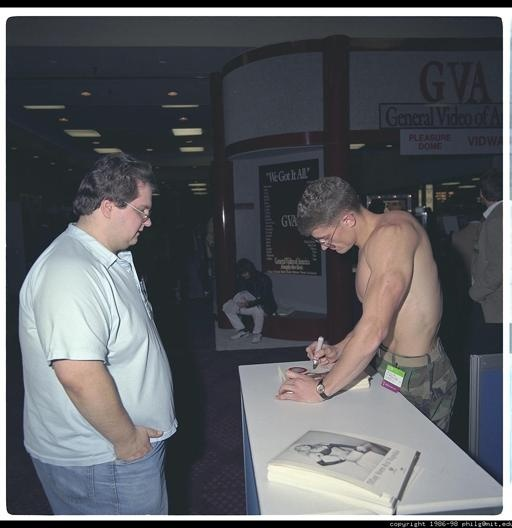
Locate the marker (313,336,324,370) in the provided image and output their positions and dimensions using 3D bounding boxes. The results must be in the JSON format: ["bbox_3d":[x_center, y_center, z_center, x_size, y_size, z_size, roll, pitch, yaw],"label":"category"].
[{"bbox_3d":[0.288,0.407,2.528,0.031,0.202,0.031,10,-5,5],"label":"marker"}]

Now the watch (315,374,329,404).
[{"bbox_3d":[0.272,0.523,2.256,0.026,0.083,0.058,-13,-11,8],"label":"watch"}]

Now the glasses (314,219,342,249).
[{"bbox_3d":[0.344,-0.147,2.601,0.028,0.108,0.101,32,-10,-7],"label":"glasses"}]

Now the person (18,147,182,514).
[{"bbox_3d":[-0.611,0.336,2.075,0.592,1.501,0.433,-7,8,-22],"label":"person"}]

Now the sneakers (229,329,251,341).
[{"bbox_3d":[-0.195,0.824,6.433,0.254,0.126,0.088,-5,14,-28],"label":"sneakers"}]
